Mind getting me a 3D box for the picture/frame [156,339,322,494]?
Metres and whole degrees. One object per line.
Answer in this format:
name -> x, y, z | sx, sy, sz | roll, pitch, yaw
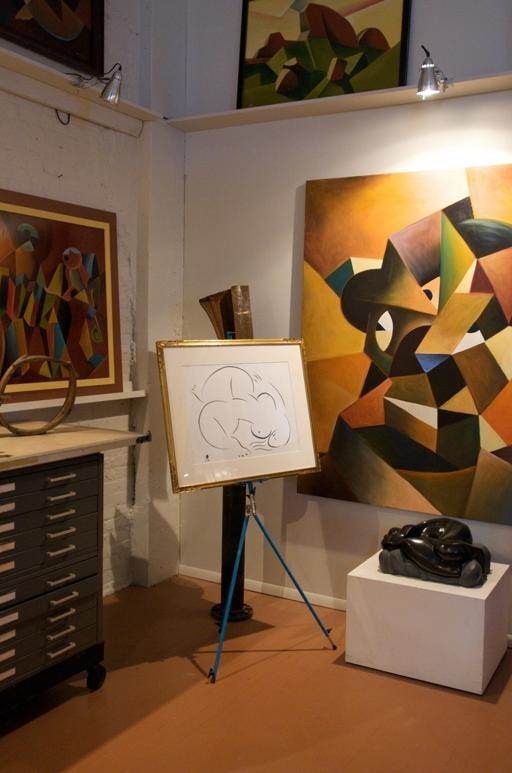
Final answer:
picture/frame -> -0.050, 0.100, 2.270 | 0.674, 0.672, 0.051 | -3, -13, -43
